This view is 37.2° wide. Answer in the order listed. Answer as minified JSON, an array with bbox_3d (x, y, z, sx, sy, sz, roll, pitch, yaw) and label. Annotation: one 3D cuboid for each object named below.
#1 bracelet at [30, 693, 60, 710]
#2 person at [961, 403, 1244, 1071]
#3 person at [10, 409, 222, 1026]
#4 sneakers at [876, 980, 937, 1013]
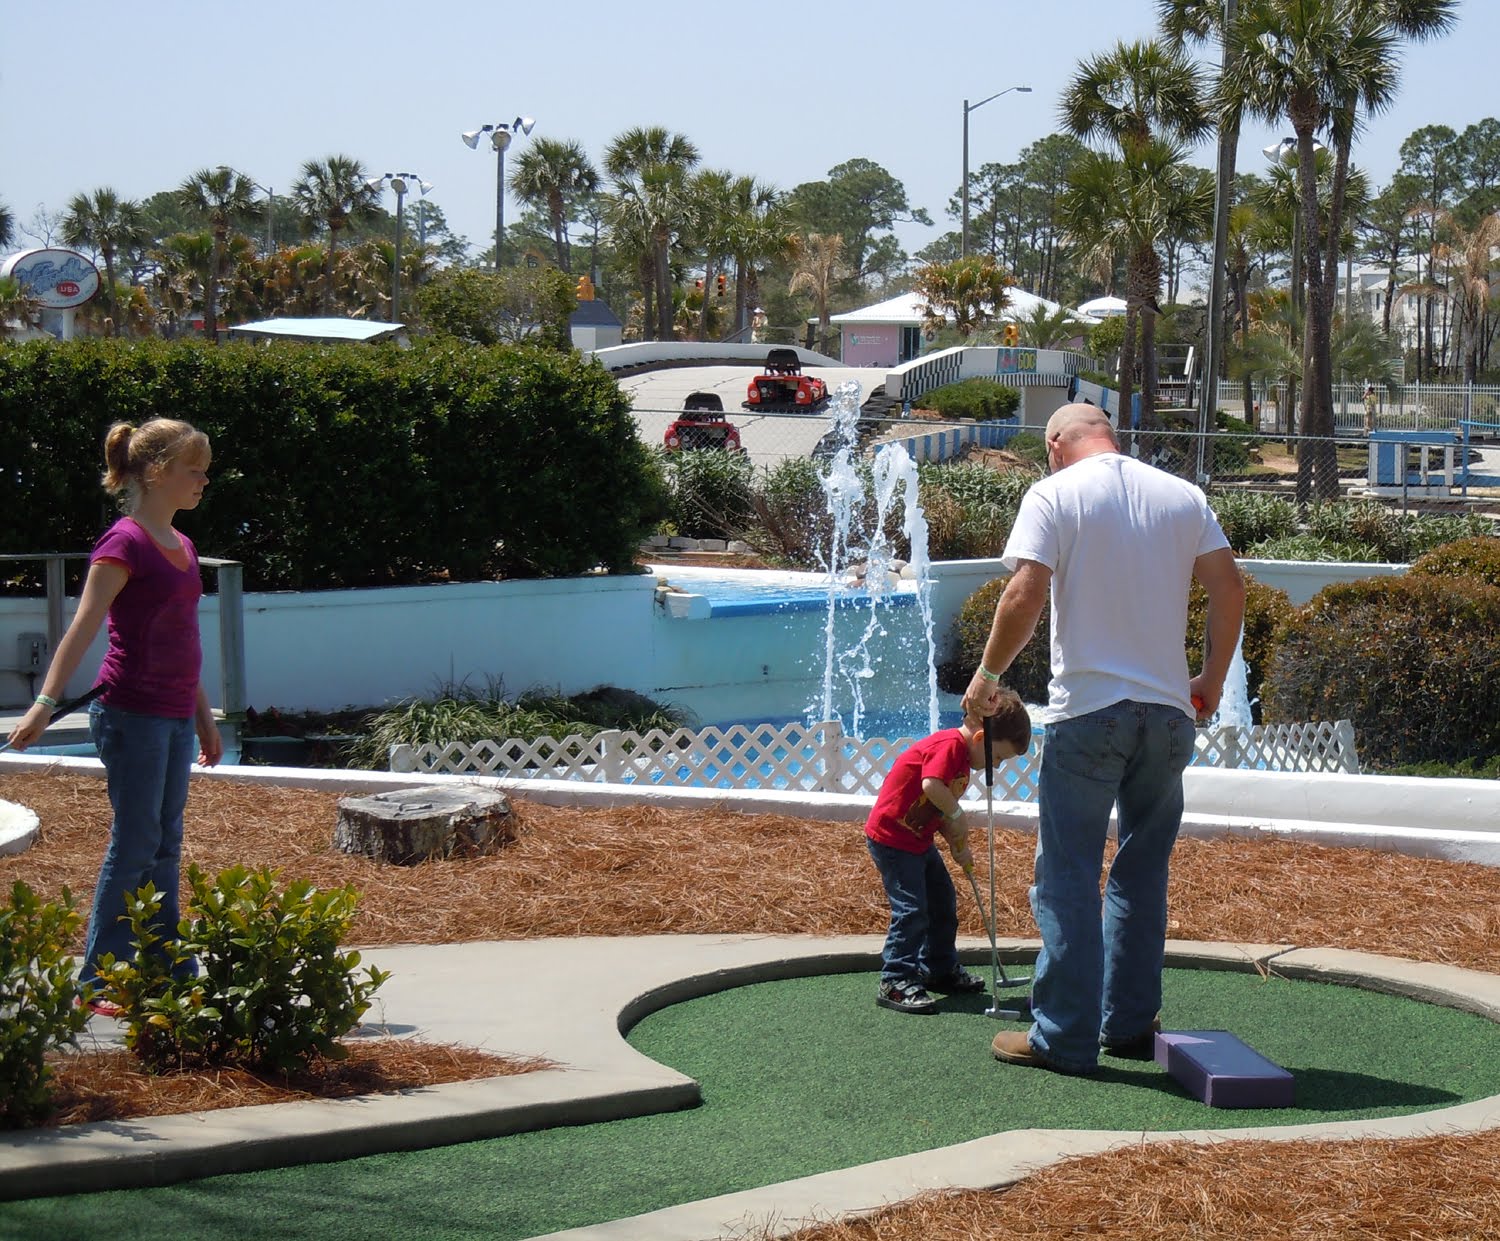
[{"bbox_3d":[-2.516,0.283,7.905,0.058,0.044,0.064,0,0,-1],"label":"bracelet"},{"bbox_3d":[1.248,0.403,7.867,0.940,2.288,0.404,-2,3,-16],"label":"person"},{"bbox_3d":[-2.218,0.276,7.917,0.626,1.979,0.487,-2,3,-20],"label":"person"},{"bbox_3d":[0.592,1.393,8.324,0.189,0.089,0.098,-4,-1,37],"label":"sneakers"}]
